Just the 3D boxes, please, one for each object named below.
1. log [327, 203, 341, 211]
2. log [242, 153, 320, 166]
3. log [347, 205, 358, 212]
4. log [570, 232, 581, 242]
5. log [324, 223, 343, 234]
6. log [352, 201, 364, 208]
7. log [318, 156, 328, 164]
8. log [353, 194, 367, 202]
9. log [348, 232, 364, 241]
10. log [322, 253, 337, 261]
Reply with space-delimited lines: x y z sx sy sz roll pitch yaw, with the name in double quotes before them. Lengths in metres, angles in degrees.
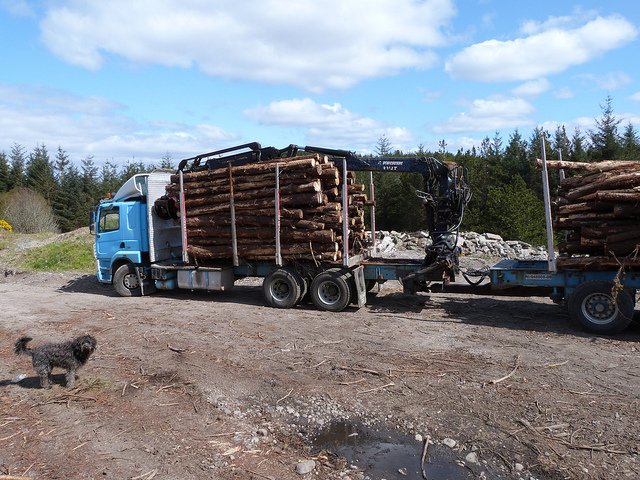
"log" 0.377 -0.926 11.757 0.258 0.211 0.062 0 -8 8
"log" -1.084 -2.340 12.320 2.291 0.265 0.663 6 13 33
"log" 0.983 -0.973 12.942 0.318 0.171 0.508 0 2 6
"log" 6.094 -0.066 10.043 0.139 0.229 0.457 0 11 7
"log" 0.406 -0.327 11.752 0.496 0.304 0.243 -8 13 -31
"log" 1.261 -1.154 13.793 0.329 0.081 0.233 2 -5 -16
"log" 0.077 -2.295 12.147 0.324 0.222 0.260 -2 -5 -15
"log" 1.360 -1.393 13.952 0.248 0.284 0.919 4 12 24
"log" 1.155 -0.103 13.409 0.106 0.316 1.129 4 12 25
"log" 0.268 0.482 11.598 0.253 0.223 0.076 0 40 3
